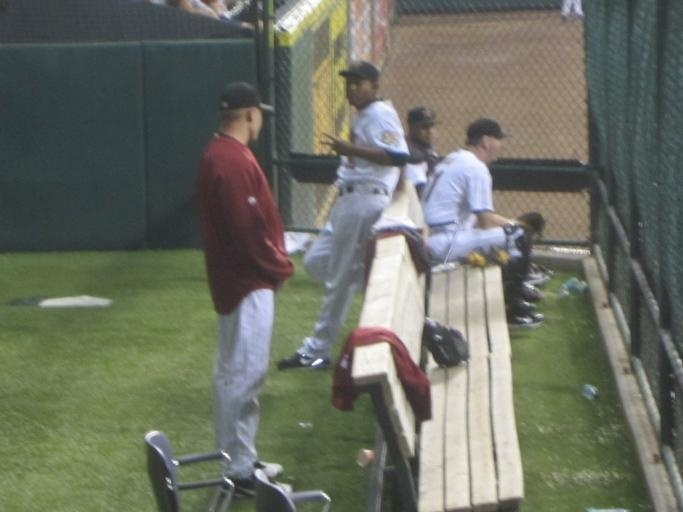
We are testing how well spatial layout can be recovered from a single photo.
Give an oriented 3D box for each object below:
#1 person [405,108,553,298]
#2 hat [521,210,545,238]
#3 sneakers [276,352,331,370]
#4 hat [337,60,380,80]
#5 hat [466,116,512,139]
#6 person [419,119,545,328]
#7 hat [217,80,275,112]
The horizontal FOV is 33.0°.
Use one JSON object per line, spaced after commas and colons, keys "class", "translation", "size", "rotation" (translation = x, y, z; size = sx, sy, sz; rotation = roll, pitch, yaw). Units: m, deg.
{"class": "person", "translation": [1.329, -0.570, 10.300], "size": [1.239, 1.929, 1.151], "rotation": [-4, 15, -11]}
{"class": "hat", "translation": [1.733, -0.253, 10.350], "size": [0.159, 0.234, 0.245], "rotation": [5, 48, -1]}
{"class": "sneakers", "translation": [-0.300, 0.844, 9.281], "size": [0.468, 0.205, 0.162], "rotation": [2, 3, 9]}
{"class": "hat", "translation": [0.175, -1.414, 9.000], "size": [0.232, 0.131, 0.175], "rotation": [4, 4, -26]}
{"class": "hat", "translation": [1.243, -1.105, 9.948], "size": [0.243, 0.148, 0.190], "rotation": [-8, 15, -15]}
{"class": "person", "translation": [1.279, -0.319, 10.113], "size": [1.051, 1.777, 0.745], "rotation": [-2, 14, -2]}
{"class": "hat", "translation": [-0.668, -1.093, 7.971], "size": [0.309, 0.188, 0.205], "rotation": [-14, 20, -32]}
